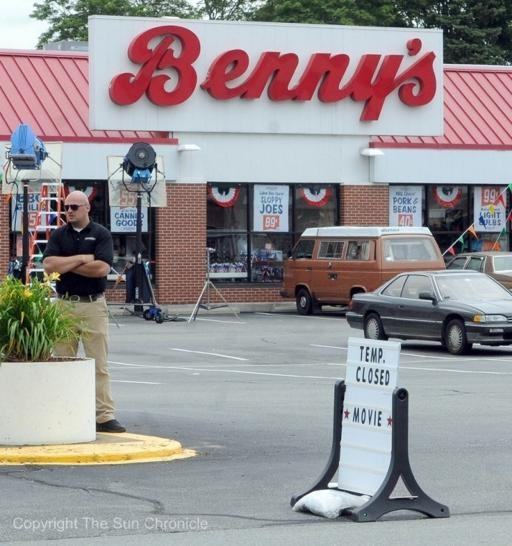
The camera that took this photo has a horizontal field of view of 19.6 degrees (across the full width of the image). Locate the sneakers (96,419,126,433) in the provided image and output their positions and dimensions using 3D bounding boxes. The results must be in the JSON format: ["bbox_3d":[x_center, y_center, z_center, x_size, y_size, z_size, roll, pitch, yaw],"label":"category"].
[{"bbox_3d":[-1.386,1.480,14.168,0.271,0.149,0.119,-2,-1,14],"label":"sneakers"}]

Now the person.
[{"bbox_3d":[-1.656,0.372,14.262,0.765,2.170,0.599,1,0,-3],"label":"person"}]

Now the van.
[{"bbox_3d":[2.323,-0.048,31.432,1.555,1.674,3.192,0,3,-34],"label":"van"}]

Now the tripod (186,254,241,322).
[{"bbox_3d":[-1.099,0.226,33.041,0.929,1.706,0.878,-5,12,-21],"label":"tripod"}]
